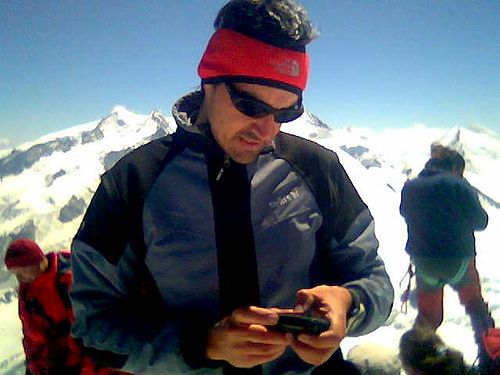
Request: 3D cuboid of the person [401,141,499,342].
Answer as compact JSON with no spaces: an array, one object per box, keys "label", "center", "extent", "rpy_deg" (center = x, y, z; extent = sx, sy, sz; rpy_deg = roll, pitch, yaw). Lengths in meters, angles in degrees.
[{"label":"person","center":[3.382,1.077,8.343],"extent":[1.355,3.243,0.531],"rpy_deg":[-4,6,18]}]
